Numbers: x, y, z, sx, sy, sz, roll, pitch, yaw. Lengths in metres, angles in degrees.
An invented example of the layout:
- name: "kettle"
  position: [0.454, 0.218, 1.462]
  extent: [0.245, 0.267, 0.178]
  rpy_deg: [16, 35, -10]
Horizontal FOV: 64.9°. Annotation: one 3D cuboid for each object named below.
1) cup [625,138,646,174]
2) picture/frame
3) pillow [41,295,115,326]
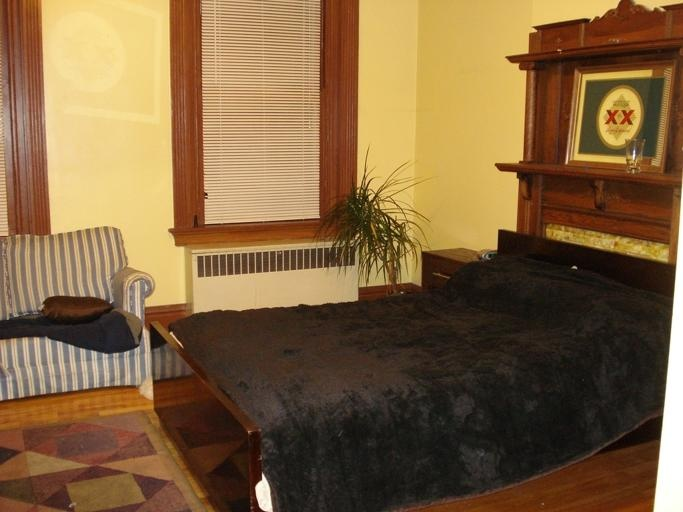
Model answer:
- name: "cup"
  position: [1.806, -0.625, 3.304]
  extent: [0.103, 0.215, 0.196]
  rpy_deg: [3, 9, 27]
- name: "picture/frame"
  position: [1.785, -0.888, 3.406]
  extent: [0.042, 0.664, 0.851]
  rpy_deg: [-1, 4, -24]
- name: "pillow"
  position: [-1.878, 0.362, 3.820]
  extent: [0.432, 0.148, 0.378]
  rpy_deg: [-6, 9, -30]
